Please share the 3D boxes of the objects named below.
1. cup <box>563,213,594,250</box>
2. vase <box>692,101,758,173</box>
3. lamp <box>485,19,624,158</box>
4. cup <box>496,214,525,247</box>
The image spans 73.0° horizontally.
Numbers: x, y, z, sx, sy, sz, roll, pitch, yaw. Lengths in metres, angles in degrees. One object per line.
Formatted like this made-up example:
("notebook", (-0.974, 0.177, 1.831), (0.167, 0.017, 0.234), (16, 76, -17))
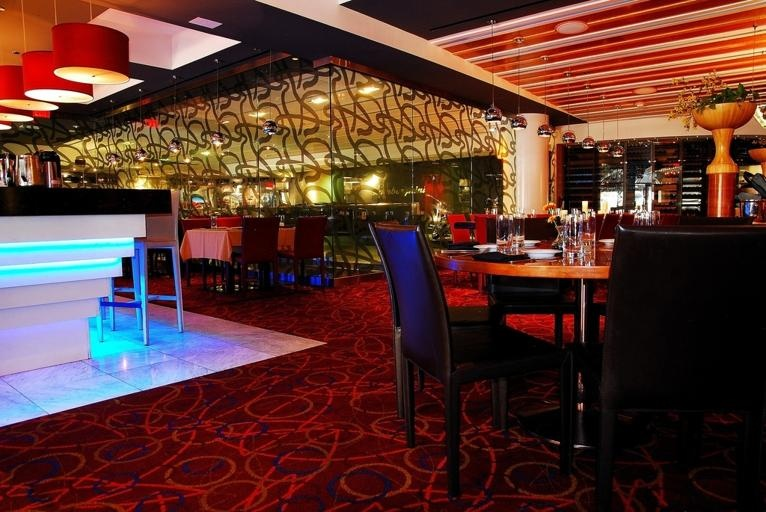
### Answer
("cup", (1.150, -0.144, 3.068), (0.226, 0.233, 0.217), (-1, 4, 0))
("vase", (2.760, -0.945, 4.203), (0.404, 0.565, 0.402), (1, 8, 15))
("lamp", (3.120, -2.737, 9.329), (2.091, 1.498, 5.358), (2, 8, 23))
("cup", (0.866, -0.171, 3.457), (0.213, 0.222, 0.212), (-1, 3, 0))
